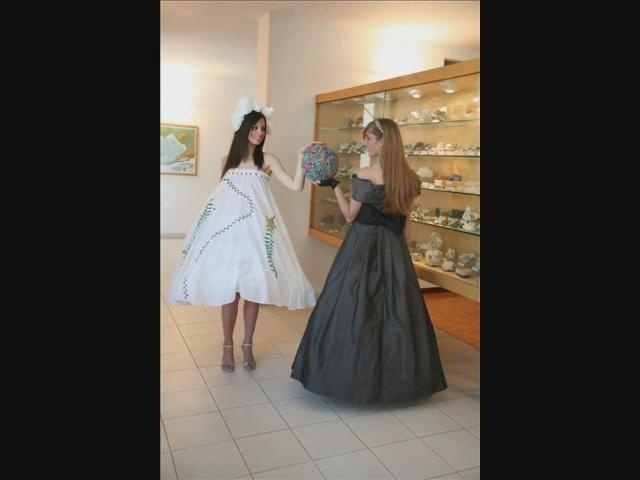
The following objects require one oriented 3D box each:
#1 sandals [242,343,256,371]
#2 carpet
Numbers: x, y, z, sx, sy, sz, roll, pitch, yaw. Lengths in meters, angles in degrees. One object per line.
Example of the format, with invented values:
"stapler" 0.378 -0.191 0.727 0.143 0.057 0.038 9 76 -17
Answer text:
"sandals" -0.468 0.781 2.916 0.067 0.079 0.197 -3 36 -9
"carpet" 1.264 0.722 4.188 0.491 0.171 0.733 3 10 -24
